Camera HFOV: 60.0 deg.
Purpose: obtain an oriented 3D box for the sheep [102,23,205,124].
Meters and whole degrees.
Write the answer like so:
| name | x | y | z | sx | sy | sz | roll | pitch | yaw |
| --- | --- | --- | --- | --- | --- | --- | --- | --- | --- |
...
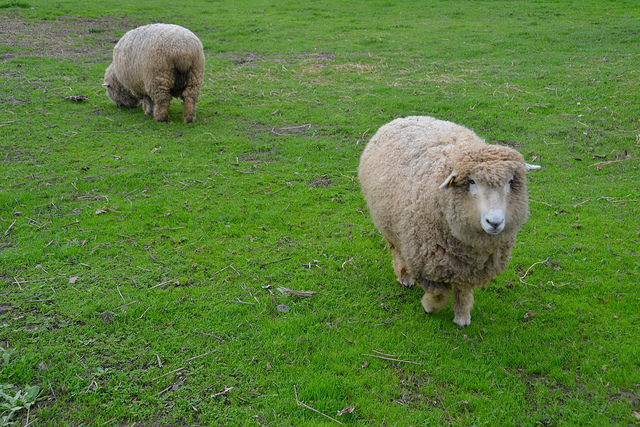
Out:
| name | x | y | z | sx | sy | sz | roll | pitch | yaw |
| --- | --- | --- | --- | --- | --- | --- | --- | --- | --- |
| sheep | -4.601 | -3.904 | 15.321 | 2.636 | 2.546 | 1.142 | 21 | 32 | 30 |
